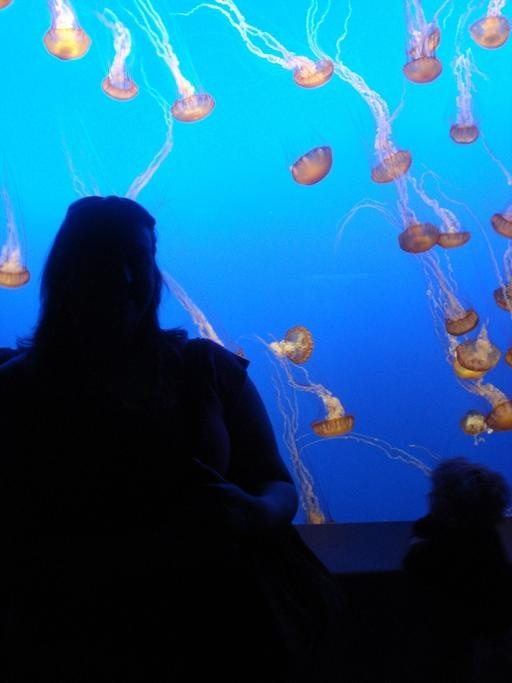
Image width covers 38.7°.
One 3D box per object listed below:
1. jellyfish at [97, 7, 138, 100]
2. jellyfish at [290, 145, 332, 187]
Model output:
[{"bbox_3d":[-0.398,-0.833,2.125,0.114,0.276,0.109,-2,31,-14],"label":"jellyfish"},{"bbox_3d":[0.178,-0.526,2.174,0.164,0.081,0.068,-10,4,-39],"label":"jellyfish"}]
